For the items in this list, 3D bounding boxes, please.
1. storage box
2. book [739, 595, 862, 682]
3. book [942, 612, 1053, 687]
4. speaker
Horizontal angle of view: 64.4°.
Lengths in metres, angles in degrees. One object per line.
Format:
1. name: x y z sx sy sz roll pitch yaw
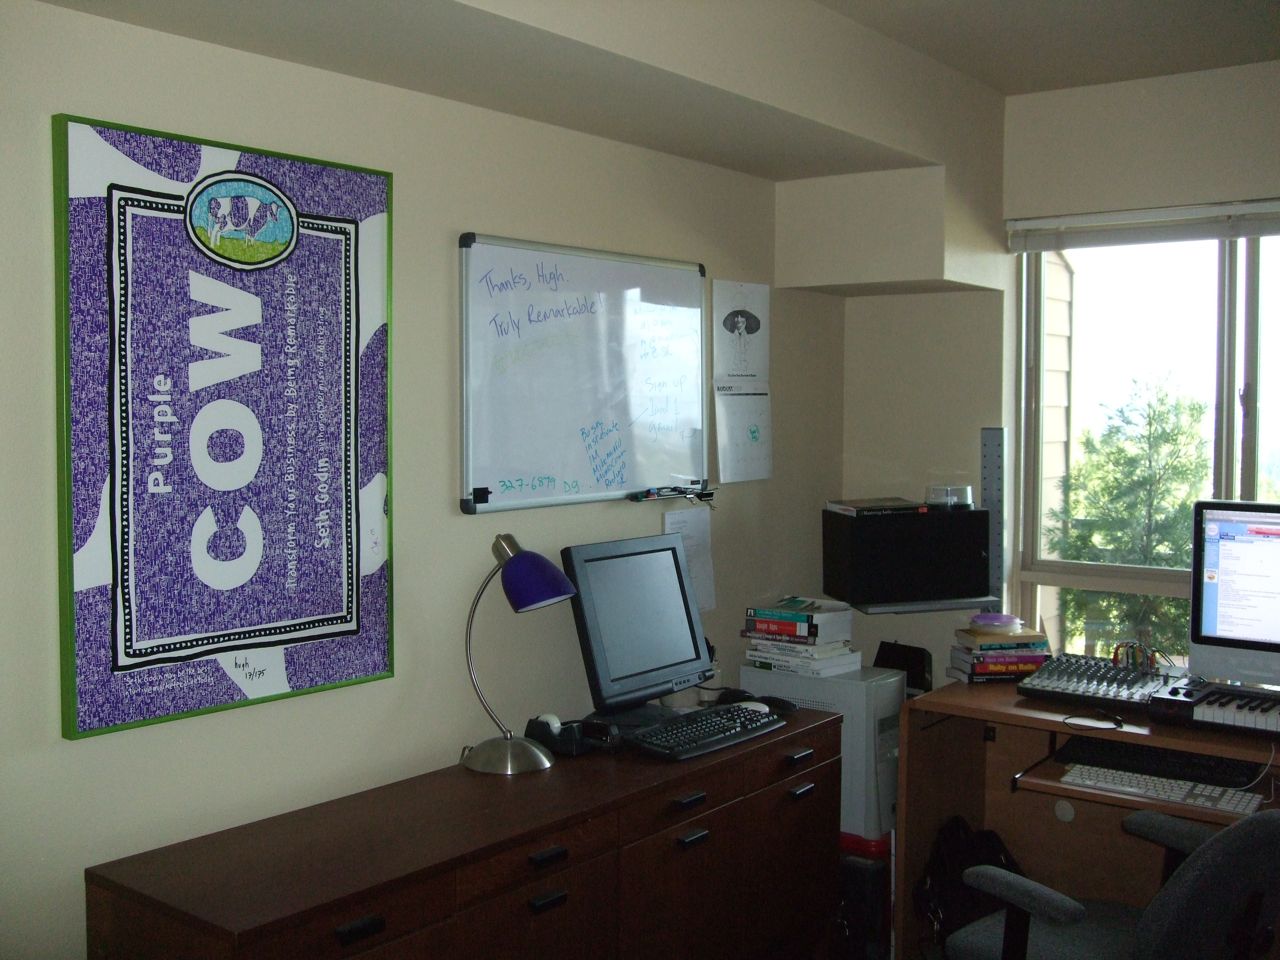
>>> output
1. storage box: 0.997 0.277 3.817 0.427 0.340 0.426 -1 0 -25
2. book: 0.592 0.503 3.596 0.315 0.214 0.262 1 2 36
3. book: 1.224 0.582 3.516 0.304 0.156 0.220 -3 5 -41
4. speaker: 0.975 0.213 3.850 0.426 0.337 0.426 -1 0 -24
